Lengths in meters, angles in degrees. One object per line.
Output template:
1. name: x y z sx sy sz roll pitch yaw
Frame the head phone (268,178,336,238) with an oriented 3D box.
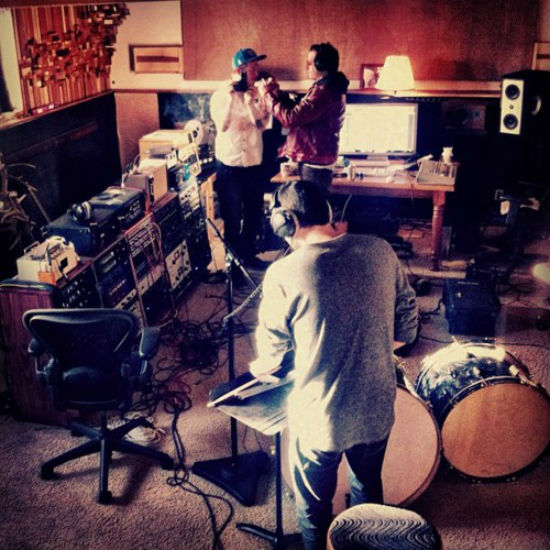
1. head phone: 0.079 -0.212 1.778 0.178 0.176 0.175 -23 -21 40

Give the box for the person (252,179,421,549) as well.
1. person: 0.180 0.348 1.829 0.540 1.278 0.390 4 20 13

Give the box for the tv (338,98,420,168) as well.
1. tv: 0.955 -1.297 4.963 0.651 0.464 0.075 0 22 6

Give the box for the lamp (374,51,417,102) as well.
1. lamp: 1.127 -1.825 4.923 0.355 0.393 0.383 10 28 24

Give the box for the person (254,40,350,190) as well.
1. person: 0.212 -1.183 4.177 0.660 1.125 0.727 -1 20 -1

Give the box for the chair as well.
1. chair: -0.898 0.560 2.839 0.664 1.077 0.735 5 22 8
